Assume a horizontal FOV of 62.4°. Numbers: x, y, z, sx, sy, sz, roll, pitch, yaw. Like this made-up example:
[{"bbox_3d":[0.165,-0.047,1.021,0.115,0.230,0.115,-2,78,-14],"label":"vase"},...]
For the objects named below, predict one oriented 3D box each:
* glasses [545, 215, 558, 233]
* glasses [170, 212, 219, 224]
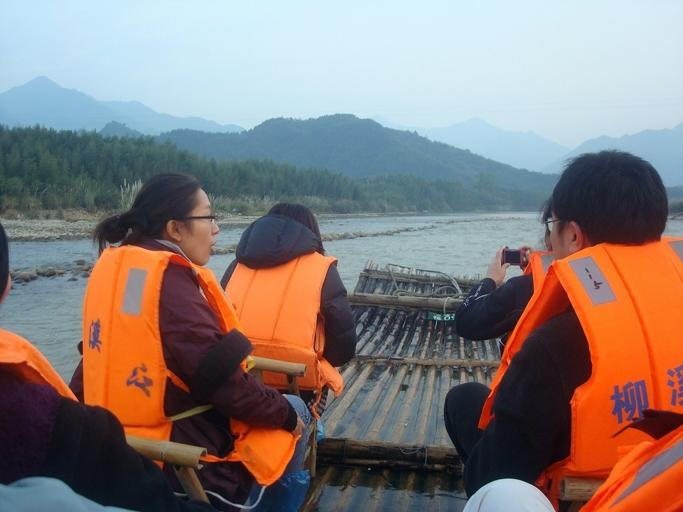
[{"bbox_3d":[1.127,-0.173,3.021,0.061,0.021,0.059,-28,20,-9],"label":"glasses"},{"bbox_3d":[-0.848,-0.226,3.267,0.126,0.045,0.116,1,11,5],"label":"glasses"}]
